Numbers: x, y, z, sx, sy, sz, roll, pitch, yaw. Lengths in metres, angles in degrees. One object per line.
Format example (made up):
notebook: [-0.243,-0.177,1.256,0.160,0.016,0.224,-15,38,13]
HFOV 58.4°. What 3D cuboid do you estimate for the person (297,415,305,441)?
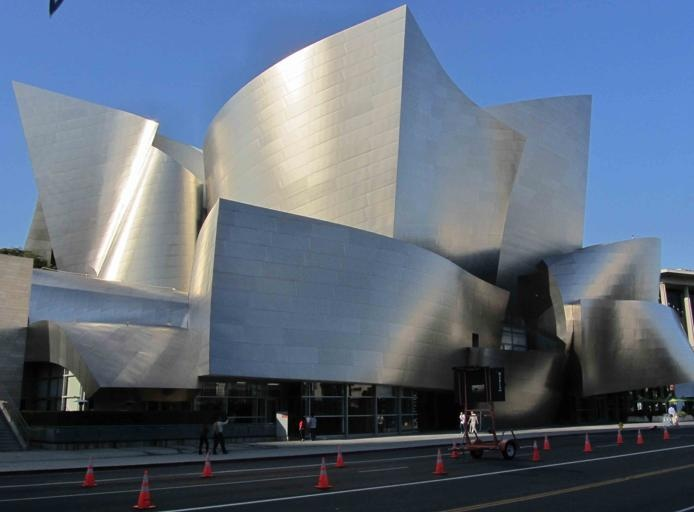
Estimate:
person: [-2.288,8.662,31.497,0.351,1.130,1.313,3,-10,-4]

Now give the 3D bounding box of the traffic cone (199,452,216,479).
traffic cone: [-4.166,6.206,18.636,0.302,0.646,1.292,5,-11,-11]

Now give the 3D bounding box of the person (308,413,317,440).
person: [-1.772,8.697,31.753,0.392,1.137,0.804,3,-10,-1]
